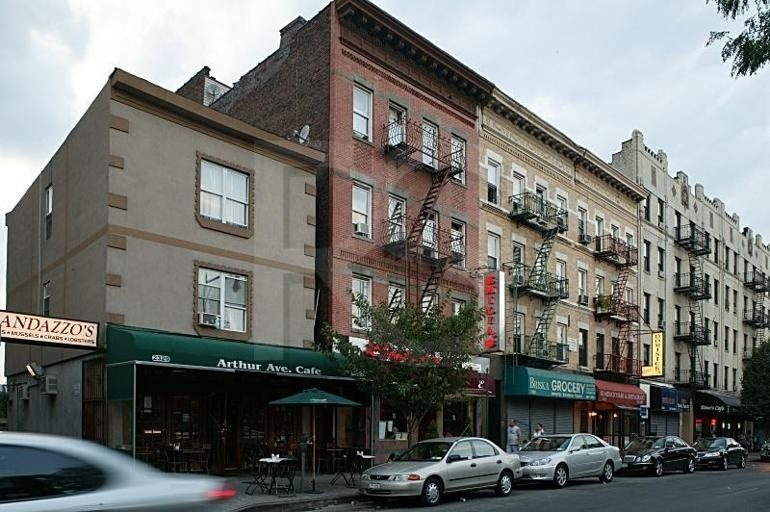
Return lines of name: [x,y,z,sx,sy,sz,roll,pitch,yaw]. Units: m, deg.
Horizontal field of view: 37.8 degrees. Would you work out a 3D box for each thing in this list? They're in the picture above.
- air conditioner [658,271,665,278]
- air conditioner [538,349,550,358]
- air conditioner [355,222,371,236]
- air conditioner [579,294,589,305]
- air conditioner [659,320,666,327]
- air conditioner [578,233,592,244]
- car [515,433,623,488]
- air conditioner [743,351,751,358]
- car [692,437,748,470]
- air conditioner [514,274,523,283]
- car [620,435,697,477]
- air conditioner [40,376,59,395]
air conditioner: [17.110,1.089,69.670,0.336,0.476,0.643,-5,-1,26]
air conditioner: [8.208,4.959,57.916,0.482,0.709,0.681,-4,-7,35]
air conditioner: [-1.020,-1.209,50.767,0.447,0.662,0.858,-3,-7,29]
air conditioner: [10.847,2.373,61.660,0.181,0.385,0.539,1,-3,37]
air conditioner: [16.962,4.138,68.958,0.365,0.554,0.429,1,-3,-45]
air conditioner: [11.033,-0.968,62.330,0.462,0.622,0.877,-6,-9,29]
car: [7.623,8.436,46.719,2.056,1.981,5.288,-7,-11,44]
air conditioner: [26.087,7.099,81.139,0.334,0.642,0.647,-7,-8,42]
car: [16.755,9.912,56.164,1.421,1.078,3.208,-13,-25,36]
air conditioner: [6.766,1.140,57.119,0.343,0.512,0.702,-7,-6,34]
car: [12.468,9.218,51.840,3.859,2.094,1.427,14,-25,-33]
air conditioner: [-14.080,5.436,47.110,0.619,0.910,0.962,5,-20,-21]
